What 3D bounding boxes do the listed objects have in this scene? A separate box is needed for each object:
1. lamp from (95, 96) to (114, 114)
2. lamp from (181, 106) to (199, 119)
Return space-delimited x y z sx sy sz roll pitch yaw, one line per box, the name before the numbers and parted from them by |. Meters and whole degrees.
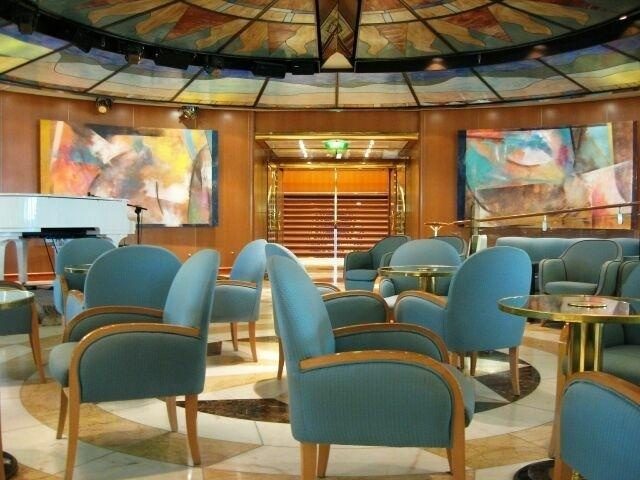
lamp | -4.102 -2.544 9.705 0.296 0.277 0.390 -3 7 -23
lamp | -2.647 -2.552 10.304 0.390 0.251 0.267 -1 7 -14
